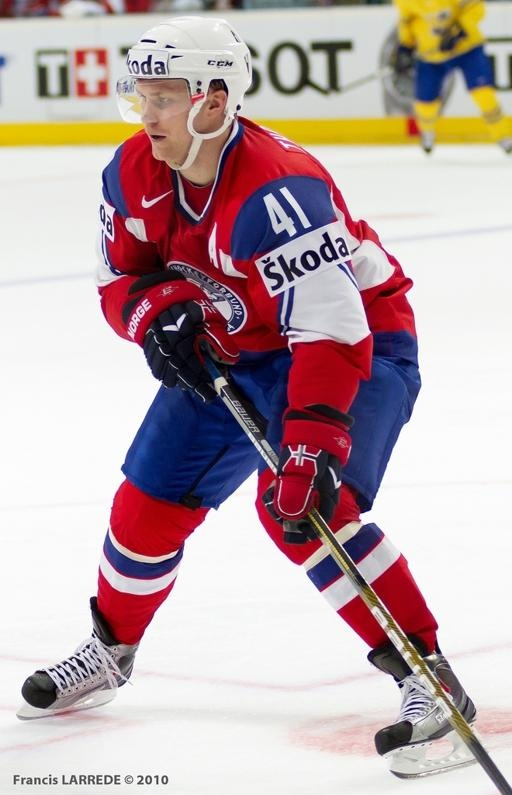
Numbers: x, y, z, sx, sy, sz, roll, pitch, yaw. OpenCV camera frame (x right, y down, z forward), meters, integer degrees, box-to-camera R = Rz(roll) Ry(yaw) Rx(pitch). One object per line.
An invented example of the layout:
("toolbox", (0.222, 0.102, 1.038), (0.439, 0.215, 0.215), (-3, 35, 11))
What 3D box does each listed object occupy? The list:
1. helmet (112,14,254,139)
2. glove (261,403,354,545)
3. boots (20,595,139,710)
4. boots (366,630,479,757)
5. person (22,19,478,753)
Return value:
("helmet", (-0.112, -0.533, 1.294), (0.227, 0.164, 0.160), (-14, 33, -25))
("glove", (0.091, 0.113, 1.157), (0.122, 0.188, 0.082), (10, -10, 31))
("boots", (-0.309, 0.474, 1.412), (0.229, 0.189, 0.104), (4, 10, -43))
("boots", (0.238, 0.455, 1.183), (0.205, 0.068, 0.155), (1, 54, -37))
("person", (-0.039, -0.025, 1.282), (0.763, 1.157, 0.500), (0, 14, 14))
